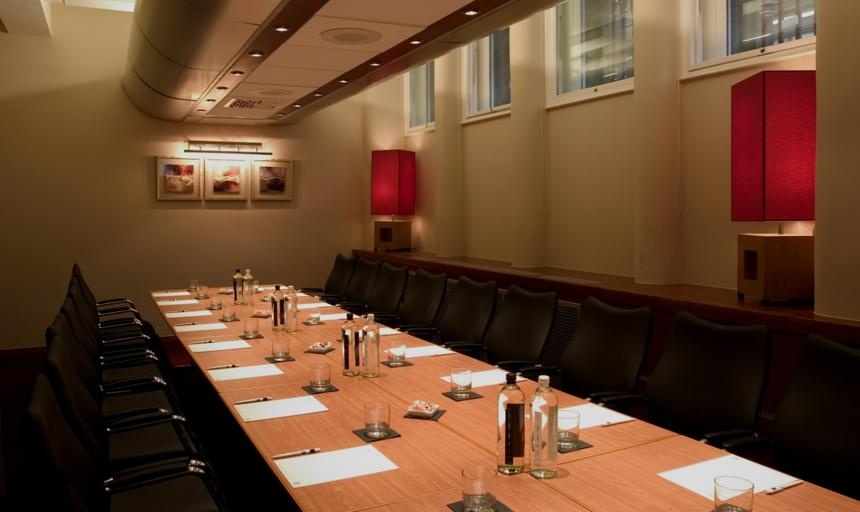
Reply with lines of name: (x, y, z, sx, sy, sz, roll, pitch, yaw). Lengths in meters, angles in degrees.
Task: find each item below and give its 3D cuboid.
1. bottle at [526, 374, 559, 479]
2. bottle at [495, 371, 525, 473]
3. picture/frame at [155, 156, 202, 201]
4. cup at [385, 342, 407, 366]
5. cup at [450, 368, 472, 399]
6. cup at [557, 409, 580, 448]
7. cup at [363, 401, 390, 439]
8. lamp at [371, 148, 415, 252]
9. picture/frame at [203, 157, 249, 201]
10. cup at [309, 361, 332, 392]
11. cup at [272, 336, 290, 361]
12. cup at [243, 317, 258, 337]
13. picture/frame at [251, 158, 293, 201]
bottle: (0.611, 0.908, 2.954, 0.150, 0.545, 0.203, -1, 7, 15)
bottle: (0.438, 0.905, 2.952, 0.163, 0.551, 0.110, -2, 7, 7)
picture/frame: (-4.203, -1.293, 9.004, 0.791, 0.814, 0.082, 1, -1, -32)
cup: (-0.281, 0.801, 4.419, 0.159, 0.111, 0.156, 0, 0, 0)
cup: (0.209, 0.895, 3.759, 0.172, 0.182, 0.164, 1, -4, 0)
cup: (0.791, 0.985, 3.117, 0.115, 0.257, 0.158, -1, 7, 13)
cup: (-0.304, 0.983, 3.271, 0.191, 0.210, 0.190, 0, -3, 0)
lamp: (-0.668, -0.976, 9.531, 0.771, 1.719, 0.560, 0, 10, -9)
picture/frame: (-3.485, -1.311, 9.355, 0.031, 0.702, 0.717, 1, 5, 39)
cup: (-0.776, 0.885, 3.973, 0.188, 0.196, 0.178, 1, -5, 0)
cup: (-1.253, 0.776, 4.534, 0.182, 0.167, 0.171, 2, 7, 0)
cup: (-1.667, 0.681, 5.149, 0.183, 0.181, 0.142, 1, 2, 3)
picture/frame: (-2.813, -1.358, 9.549, 0.798, 0.813, 0.055, 1, 0, -23)
